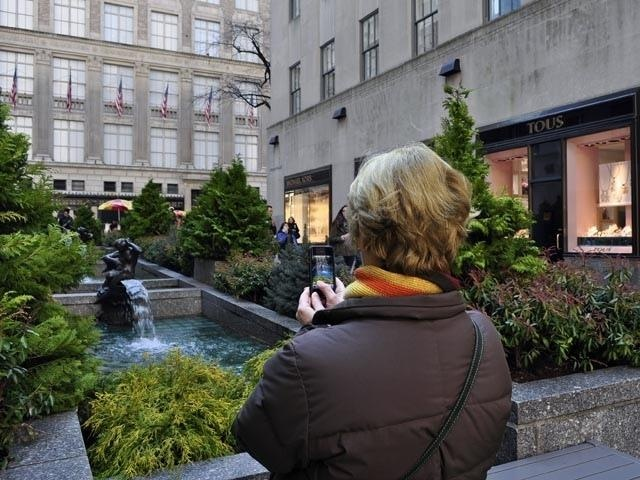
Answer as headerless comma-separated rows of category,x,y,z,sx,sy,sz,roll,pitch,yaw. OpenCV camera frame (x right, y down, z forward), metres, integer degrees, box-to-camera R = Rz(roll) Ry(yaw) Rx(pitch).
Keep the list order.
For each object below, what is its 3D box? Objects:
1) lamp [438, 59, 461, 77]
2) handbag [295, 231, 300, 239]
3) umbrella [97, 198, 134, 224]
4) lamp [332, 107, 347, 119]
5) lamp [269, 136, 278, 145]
lamp,3.777,-5.179,15.334,0.343,0.535,0.711,-5,2,-20
handbag,-0.703,-0.179,18.113,0.160,0.175,0.294,-6,-9,-1
umbrella,-15.460,-2.273,39.741,2.298,1.937,2.473,5,11,25
lamp,0.785,-4.999,20.833,0.267,0.369,0.762,-6,2,-30
lamp,-2.294,-5.032,26.596,0.288,0.450,1.001,-5,1,-18
